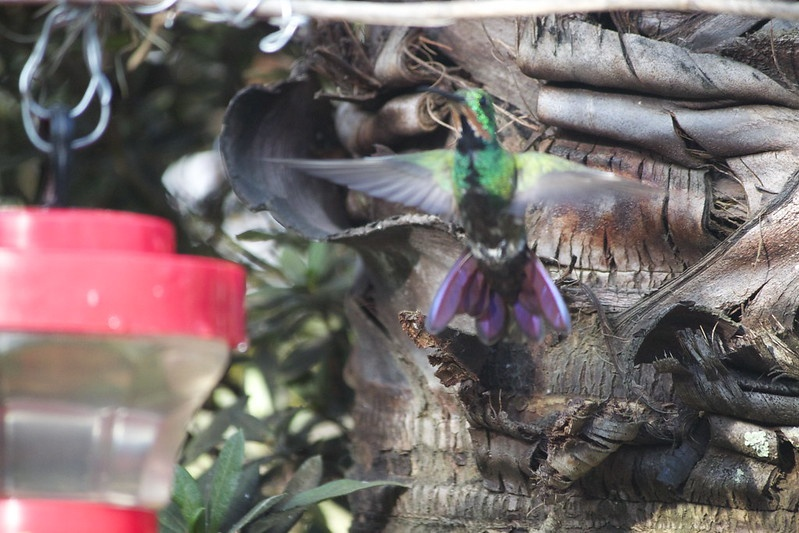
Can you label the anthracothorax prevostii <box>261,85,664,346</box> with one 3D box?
[{"bbox_3d":[0.194,-0.139,5.014,0.730,0.536,0.372,18,38,15],"label":"anthracothorax prevostii"}]
